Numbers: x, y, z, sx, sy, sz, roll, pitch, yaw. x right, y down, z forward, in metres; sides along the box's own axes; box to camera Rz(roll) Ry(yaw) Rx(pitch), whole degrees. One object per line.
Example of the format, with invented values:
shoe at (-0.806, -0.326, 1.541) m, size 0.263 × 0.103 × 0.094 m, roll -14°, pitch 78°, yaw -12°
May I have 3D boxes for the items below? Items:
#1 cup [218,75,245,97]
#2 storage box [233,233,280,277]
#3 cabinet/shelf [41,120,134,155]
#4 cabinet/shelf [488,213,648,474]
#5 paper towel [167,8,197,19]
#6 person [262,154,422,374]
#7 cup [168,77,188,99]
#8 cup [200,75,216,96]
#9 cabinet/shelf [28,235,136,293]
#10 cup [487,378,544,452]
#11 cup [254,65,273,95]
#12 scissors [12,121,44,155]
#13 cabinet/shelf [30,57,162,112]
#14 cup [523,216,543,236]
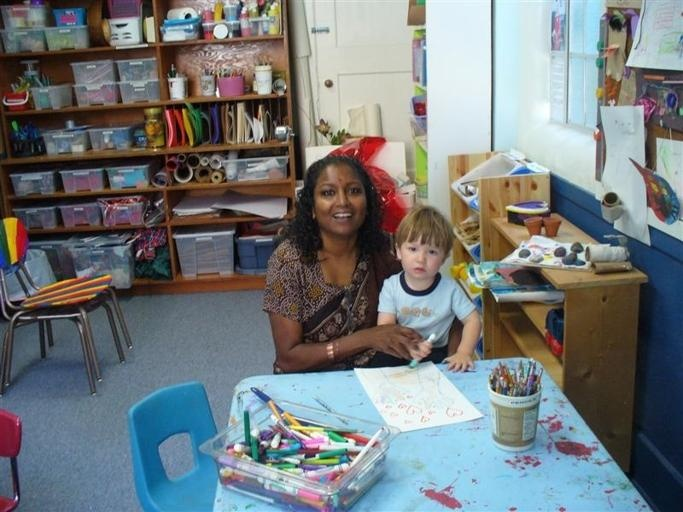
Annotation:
cup at (-0.881, -1.347, 4.326) m, size 0.206 × 0.157 × 0.197 m, roll -5°, pitch 21°, yaw 2°
storage box at (-0.678, -0.046, 4.554) m, size 0.399 × 0.401 × 0.358 m, roll 0°, pitch 4°, yaw 1°
cabinet/shelf at (-2.017, -0.940, 4.366) m, size 0.686 × 0.213 × 0.177 m, roll -6°, pitch 21°, yaw -2°
cabinet/shelf at (0.813, 0.290, 1.878) m, size 0.318 × 0.804 × 0.836 m, roll 0°, pitch 18°, yaw -1°
paper towel at (-1.258, -1.894, 4.267) m, size 0.264 × 0.083 × 0.186 m, roll -7°, pitch 22°, yaw -3°
person at (0.002, -0.004, 2.006) m, size 0.547 × 0.751 × 0.394 m, roll -10°, pitch 20°, yaw -21°
cup at (-1.295, -1.308, 4.322) m, size 0.158 × 0.161 × 0.154 m, roll 0°, pitch 3°, yaw 0°
cup at (-1.061, -1.352, 4.340) m, size 0.149 × 0.165 × 0.151 m, roll 2°, pitch 15°, yaw -1°
cabinet/shelf at (-2.022, 0.014, 4.311) m, size 0.630 × 0.335 × 0.477 m, roll 1°, pitch 10°, yaw 1°
cup at (0.413, 0.388, 1.315) m, size 0.117 × 0.136 × 0.122 m, roll -1°, pitch 3°, yaw 0°
cup at (-0.626, -1.397, 4.321) m, size 0.145 × 0.208 × 0.125 m, roll -7°, pitch 21°, yaw -4°
scissors at (-2.517, -0.937, 4.346) m, size 0.238 × 0.275 × 0.167 m, roll -14°, pitch 22°, yaw -20°
cabinet/shelf at (-1.938, -1.375, 4.346) m, size 1.015 × 0.337 × 0.287 m, roll -7°, pitch 21°, yaw -2°
cup at (0.854, -0.142, 2.428) m, size 0.075 × 0.075 × 0.082 m, roll -4°, pitch 21°, yaw 1°
